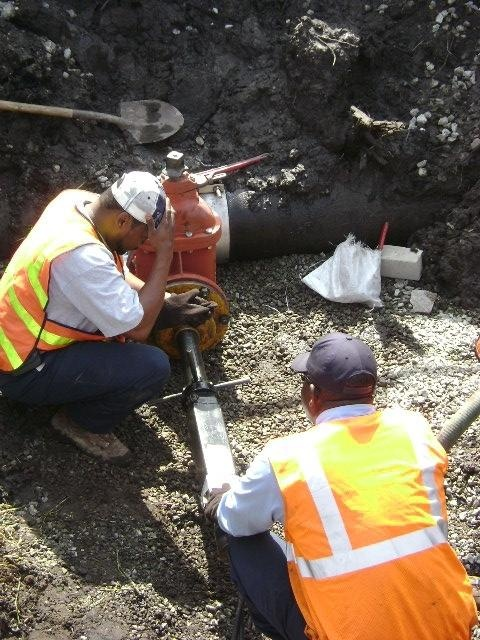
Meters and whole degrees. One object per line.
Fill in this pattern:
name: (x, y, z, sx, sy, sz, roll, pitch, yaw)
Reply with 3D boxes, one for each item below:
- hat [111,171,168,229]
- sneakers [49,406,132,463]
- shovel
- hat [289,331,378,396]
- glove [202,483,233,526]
hat: (-0.405, -0.496, 2.931, 0.144, 0.175, 0.264, -41, -22, 22)
sneakers: (-0.665, 0.520, 3.172, 0.373, 0.215, 0.125, 21, 45, 30)
shovel: (-0.883, -1.338, 4.706, 1.359, 0.307, 0.096, 4, -7, -17)
hat: (0.325, 0.111, 2.338, 0.239, 0.143, 0.335, -10, 24, -27)
glove: (-0.098, 0.706, 2.676, 0.126, 0.133, 0.129, 10, 46, -6)
